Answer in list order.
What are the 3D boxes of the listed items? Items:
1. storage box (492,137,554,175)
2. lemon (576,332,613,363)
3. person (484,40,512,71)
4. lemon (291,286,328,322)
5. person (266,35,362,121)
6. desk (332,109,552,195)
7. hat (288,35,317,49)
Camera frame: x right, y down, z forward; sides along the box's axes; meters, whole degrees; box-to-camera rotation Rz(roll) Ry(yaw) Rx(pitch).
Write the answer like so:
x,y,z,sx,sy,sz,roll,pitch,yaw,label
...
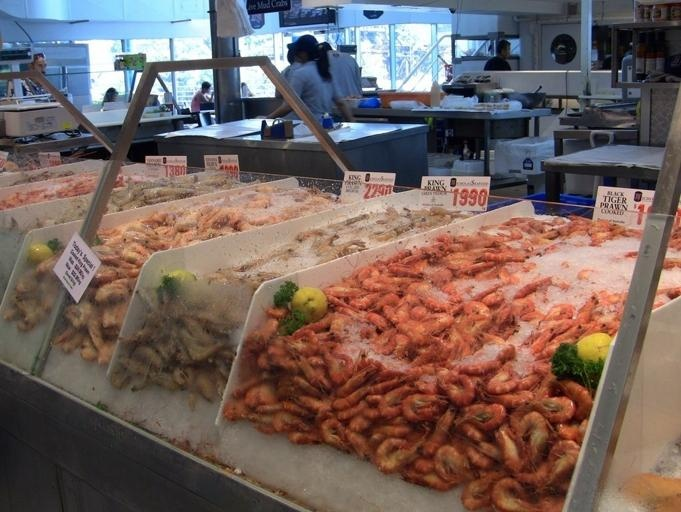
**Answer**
x,y,z,sx,sy,sz,roll,pitch,yaw,label
2.371,-1.307,5.828,0.820,0.341,0.806,-25,27,-35,storage box
0.467,0.167,0.833,0.056,0.041,0.098,6,21,29,lemon
3.149,-4.041,9.058,0.447,0.647,1.110,2,19,18,person
-0.079,0.122,1.143,0.081,0.061,0.081,-3,-3,36,lemon
-0.315,-2.183,5.502,0.517,0.943,0.871,-3,19,5,person
1.118,-1.336,6.156,2.860,1.348,1.418,-1,16,-9,desk
-0.472,-2.523,5.306,0.335,0.169,0.226,9,32,16,hat
